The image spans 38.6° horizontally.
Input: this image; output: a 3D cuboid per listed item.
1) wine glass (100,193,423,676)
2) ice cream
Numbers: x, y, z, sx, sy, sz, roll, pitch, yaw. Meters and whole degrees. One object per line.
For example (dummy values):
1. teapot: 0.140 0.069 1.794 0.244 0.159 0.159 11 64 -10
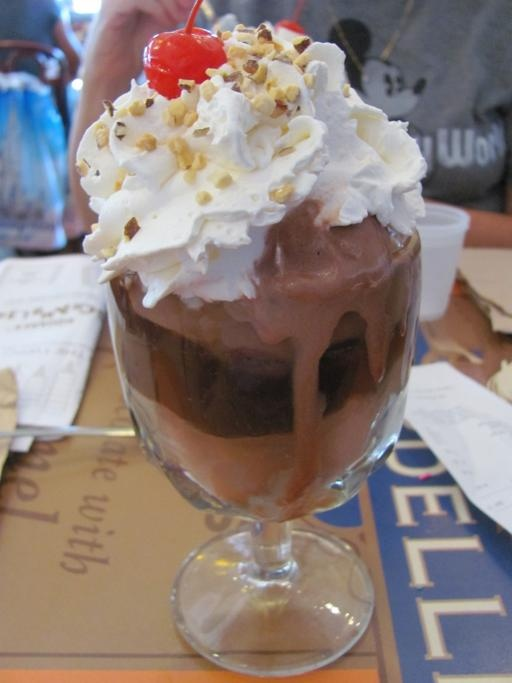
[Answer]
1. wine glass: 0.024 0.038 0.745 0.438 0.371 0.350 -8 32 -9
2. ice cream: -0.029 -0.045 0.663 0.250 0.443 0.277 19 47 26
